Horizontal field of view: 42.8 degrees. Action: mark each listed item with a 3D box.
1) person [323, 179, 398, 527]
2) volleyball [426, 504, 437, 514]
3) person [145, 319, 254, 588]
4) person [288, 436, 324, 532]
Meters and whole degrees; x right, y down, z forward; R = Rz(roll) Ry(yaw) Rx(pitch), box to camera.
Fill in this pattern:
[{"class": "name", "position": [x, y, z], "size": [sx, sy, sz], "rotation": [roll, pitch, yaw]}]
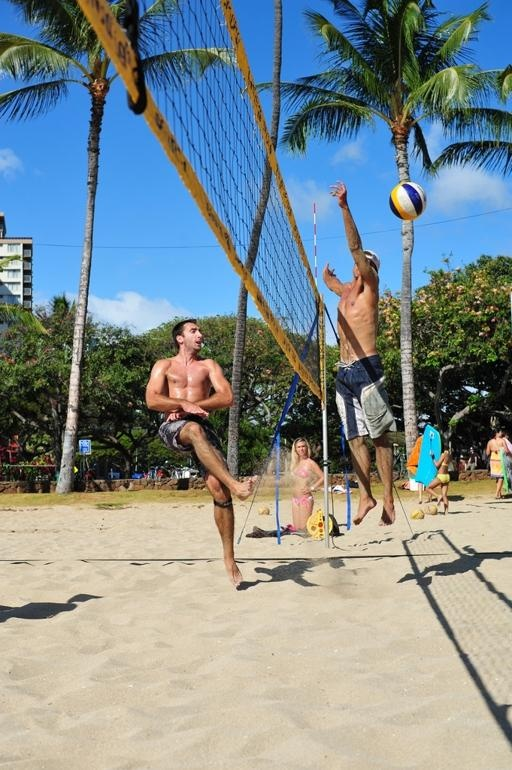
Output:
[{"class": "person", "position": [0.661, -0.156, 4.028], "size": [0.397, 2.029, 0.815], "rotation": [1, -6, 12]}, {"class": "volleyball", "position": [2.412, 1.694, 8.880], "size": [0.142, 0.113, 0.159], "rotation": [-1, 4, 2]}, {"class": "person", "position": [-0.348, 0.377, 3.683], "size": [0.590, 1.611, 0.922], "rotation": [3, -6, -4]}, {"class": "person", "position": [0.505, 1.025, 6.744], "size": [0.321, 0.957, 1.031], "rotation": [2, -6, 4]}]
